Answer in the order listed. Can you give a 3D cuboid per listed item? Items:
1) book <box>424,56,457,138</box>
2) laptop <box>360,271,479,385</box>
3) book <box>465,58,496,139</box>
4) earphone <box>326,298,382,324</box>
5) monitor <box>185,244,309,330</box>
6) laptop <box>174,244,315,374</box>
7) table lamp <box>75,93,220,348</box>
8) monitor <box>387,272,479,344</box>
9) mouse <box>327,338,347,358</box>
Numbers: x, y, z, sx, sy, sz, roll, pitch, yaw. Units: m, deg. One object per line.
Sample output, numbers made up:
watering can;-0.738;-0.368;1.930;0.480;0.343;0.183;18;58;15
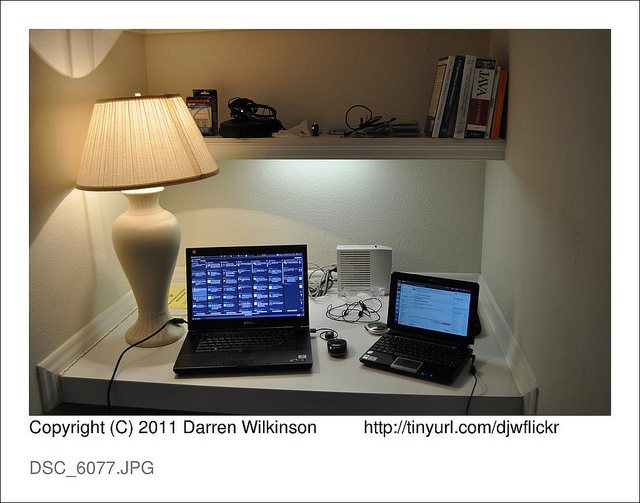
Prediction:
book;0.454;-0.590;1.807;0.059;0.263;0.249;12;24;5
laptop;0.336;0.235;1.577;0.329;0.232;0.315;8;20;38
book;0.649;-0.633;1.895;0.087;0.360;0.373;6;21;23
earphone;0.142;0.244;1.908;0.132;0.028;0.109;-4;22;-10
monitor;-0.257;0.126;1.701;0.428;0.308;0.014;-1;10;-9
laptop;-0.242;0.169;1.585;0.470;0.313;0.408;-3;13;-9
table lamp;-0.631;-0.104;1.701;0.480;0.850;0.477;-5;10;-19
monitor;0.342;0.207;1.567;0.331;0.231;0.251;5;2;27
mouse;0.060;0.328;1.613;0.065;0.047;0.064;1;11;5
